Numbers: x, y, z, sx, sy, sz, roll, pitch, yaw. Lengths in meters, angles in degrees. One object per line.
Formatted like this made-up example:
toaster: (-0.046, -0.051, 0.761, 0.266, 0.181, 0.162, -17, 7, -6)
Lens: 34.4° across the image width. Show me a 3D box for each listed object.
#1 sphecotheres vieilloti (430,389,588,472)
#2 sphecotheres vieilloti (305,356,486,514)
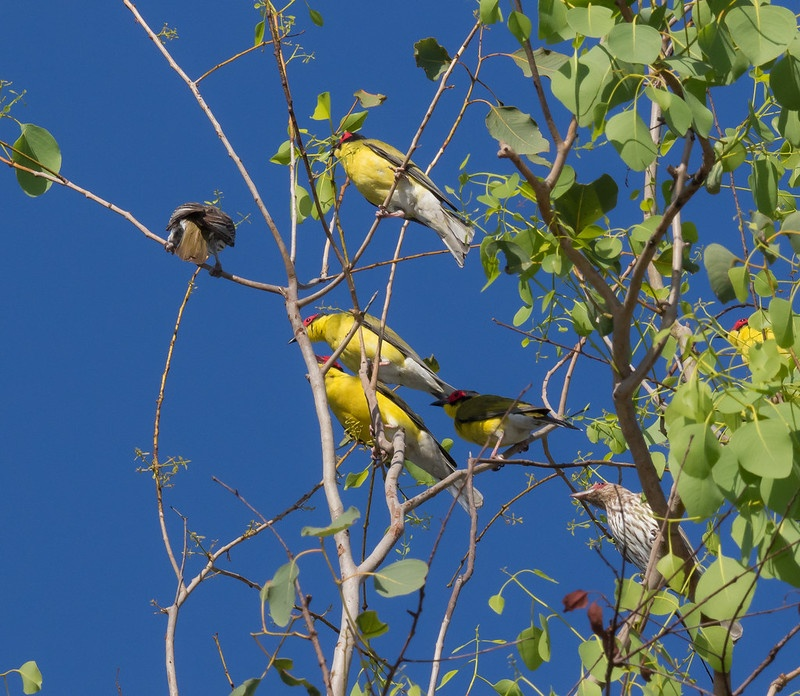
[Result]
sphecotheres vieilloti: (0.555, 0.380, 7.204, 0.867, 0.466, 0.311, -20, -21, 39)
sphecotheres vieilloti: (-0.001, 0.476, 7.089, 1.077, 0.632, 0.365, 30, -73, -5)
